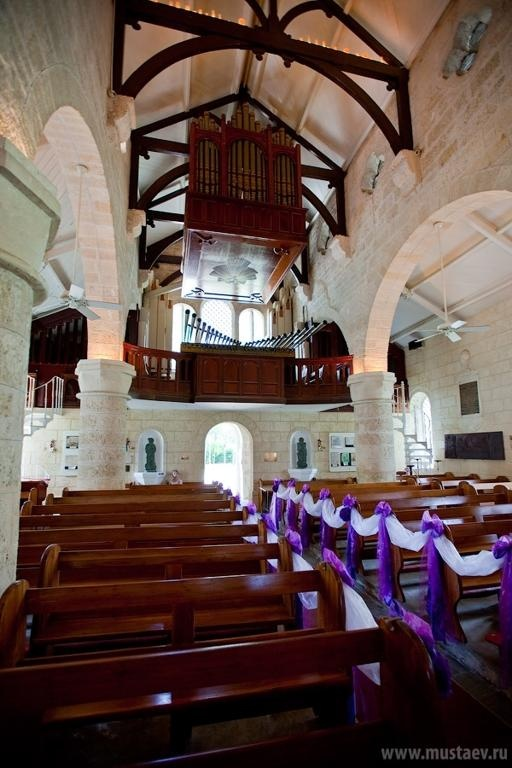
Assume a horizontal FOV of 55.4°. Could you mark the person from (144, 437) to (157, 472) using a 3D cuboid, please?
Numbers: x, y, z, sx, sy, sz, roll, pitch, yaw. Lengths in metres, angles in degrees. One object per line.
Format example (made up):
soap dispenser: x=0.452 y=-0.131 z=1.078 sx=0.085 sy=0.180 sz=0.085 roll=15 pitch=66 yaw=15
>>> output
person: x=-2.611 y=1.775 z=12.080 sx=0.294 sy=0.847 sz=0.621 roll=2 pitch=-6 yaw=-13

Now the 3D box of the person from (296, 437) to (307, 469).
person: x=1.221 y=1.875 z=13.105 sx=0.303 sy=0.821 sz=0.575 roll=0 pitch=-6 yaw=6

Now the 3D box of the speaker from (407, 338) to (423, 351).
speaker: x=4.361 y=-1.063 z=13.450 sx=0.271 sy=0.247 sz=0.420 roll=-14 pitch=-6 yaw=28

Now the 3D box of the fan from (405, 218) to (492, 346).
fan: x=3.869 y=-2.055 z=9.645 sx=1.221 sy=2.076 sz=1.268 roll=18 pitch=-27 yaw=-36
